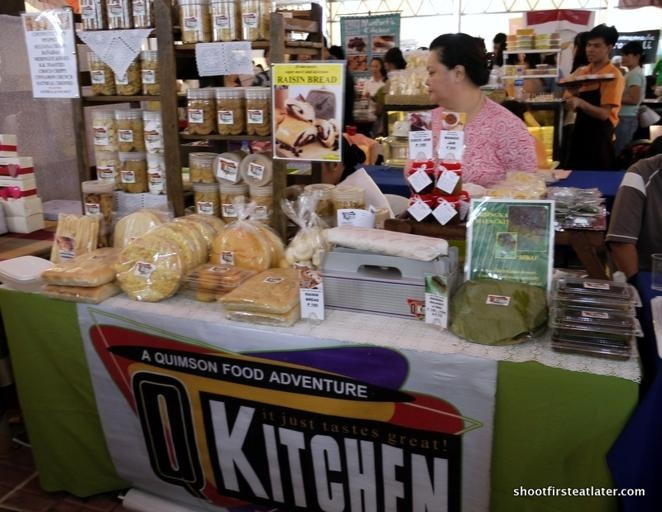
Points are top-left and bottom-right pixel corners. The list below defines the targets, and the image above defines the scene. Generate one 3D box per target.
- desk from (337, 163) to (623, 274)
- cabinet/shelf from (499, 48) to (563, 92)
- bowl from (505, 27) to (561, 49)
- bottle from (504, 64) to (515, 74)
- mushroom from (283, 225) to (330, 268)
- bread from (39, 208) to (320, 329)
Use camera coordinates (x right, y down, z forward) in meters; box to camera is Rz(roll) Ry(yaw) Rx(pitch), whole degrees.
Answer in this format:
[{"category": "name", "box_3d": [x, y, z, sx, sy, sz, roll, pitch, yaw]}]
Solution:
[{"category": "desk", "box_3d": [0.683, -0.156, 2.223, 1.019, 0.337, 0.573, 4, 26, 13]}, {"category": "cabinet/shelf", "box_3d": [2.416, -2.185, 6.125, 0.834, 0.333, 0.661, -1, 16, 4]}, {"category": "bowl", "box_3d": [2.392, -2.542, 5.929, 0.483, 0.136, 0.449, -1, 17, 0]}, {"category": "bottle", "box_3d": [2.153, -2.245, 6.040, 0.150, 0.096, 0.129, 5, 15, 23]}, {"category": "mushroom", "box_3d": [-0.097, -0.034, 2.103, 0.187, 0.169, 0.077, 14, -5, 30]}, {"category": "bread", "box_3d": [-0.571, 0.045, 2.102, 0.992, 0.195, 0.584, 2, 12, 7]}]
